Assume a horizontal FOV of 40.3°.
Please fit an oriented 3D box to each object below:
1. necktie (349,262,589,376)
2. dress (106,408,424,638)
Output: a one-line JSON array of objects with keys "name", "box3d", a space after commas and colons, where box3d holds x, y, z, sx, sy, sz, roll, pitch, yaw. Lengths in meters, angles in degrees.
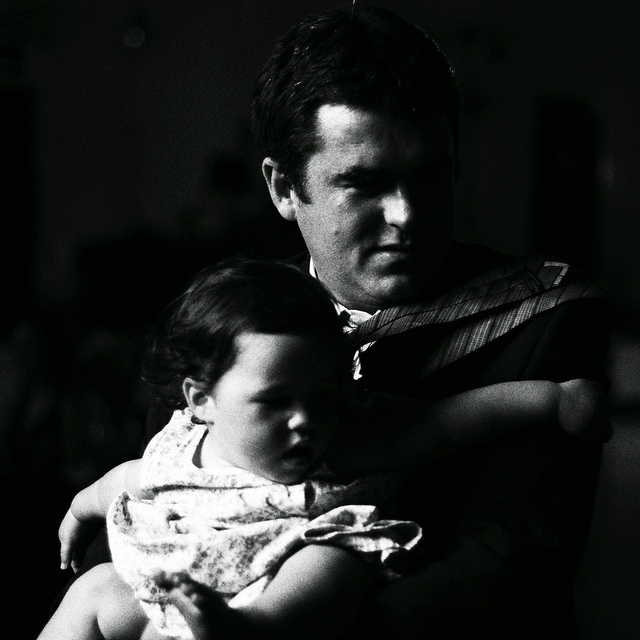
[{"name": "necktie", "box3d": [0.265, 0.012, 1.622, 0.459, 0.191, 0.065, -24, -12, 4]}, {"name": "dress", "box3d": [-0.117, 0.359, 1.467, 0.541, 0.332, 0.223, 9, 5, 23]}]
